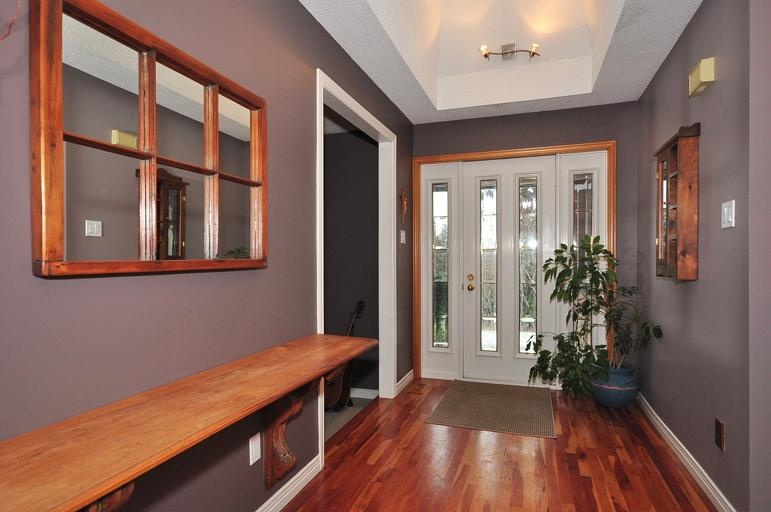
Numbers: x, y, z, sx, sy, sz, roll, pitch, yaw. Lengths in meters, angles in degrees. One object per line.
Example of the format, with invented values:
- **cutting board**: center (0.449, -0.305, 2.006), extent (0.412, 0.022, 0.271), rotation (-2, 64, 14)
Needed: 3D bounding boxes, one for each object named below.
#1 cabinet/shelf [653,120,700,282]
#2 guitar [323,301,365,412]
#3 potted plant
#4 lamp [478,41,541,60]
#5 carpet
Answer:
- **cabinet/shelf**: center (2.011, -0.357, 3.406), extent (0.151, 1.035, 0.542), rotation (1, 8, 13)
- **guitar**: center (-0.316, 0.843, 4.285), extent (0.340, 0.877, 0.105), rotation (21, 14, 39)
- **potted plant**: center (1.939, 0.583, 4.869), extent (1.307, 1.685, 1.302), rotation (-3, -3, -42)
- **lamp**: center (1.102, -1.793, 4.303), extent (0.523, 0.113, 0.330), rotation (0, 7, 10)
- **carpet**: center (0.970, 1.317, 4.350), extent (1.003, 0.051, 1.112), rotation (1, 7, 17)
